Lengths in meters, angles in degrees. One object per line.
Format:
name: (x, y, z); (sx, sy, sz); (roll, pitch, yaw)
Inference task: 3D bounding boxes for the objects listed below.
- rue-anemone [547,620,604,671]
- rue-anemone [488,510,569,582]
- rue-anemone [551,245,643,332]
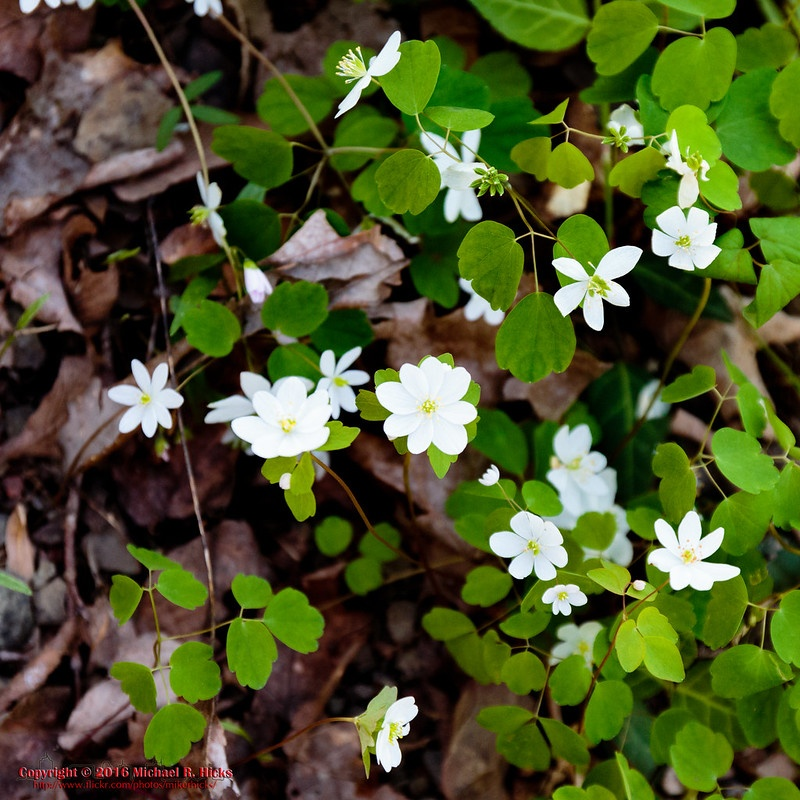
rue-anemone: (0.499, 0.706, 2.454); (0.146, 0.173, 0.113); (7, 63, -4)
rue-anemone: (0.324, 0.362, 2.068); (0.064, 0.159, 0.182); (-27, 99, -60)
rue-anemone: (0.493, -0.288, 2.069); (0.193, 0.207, 0.086); (-5, 17, 19)
